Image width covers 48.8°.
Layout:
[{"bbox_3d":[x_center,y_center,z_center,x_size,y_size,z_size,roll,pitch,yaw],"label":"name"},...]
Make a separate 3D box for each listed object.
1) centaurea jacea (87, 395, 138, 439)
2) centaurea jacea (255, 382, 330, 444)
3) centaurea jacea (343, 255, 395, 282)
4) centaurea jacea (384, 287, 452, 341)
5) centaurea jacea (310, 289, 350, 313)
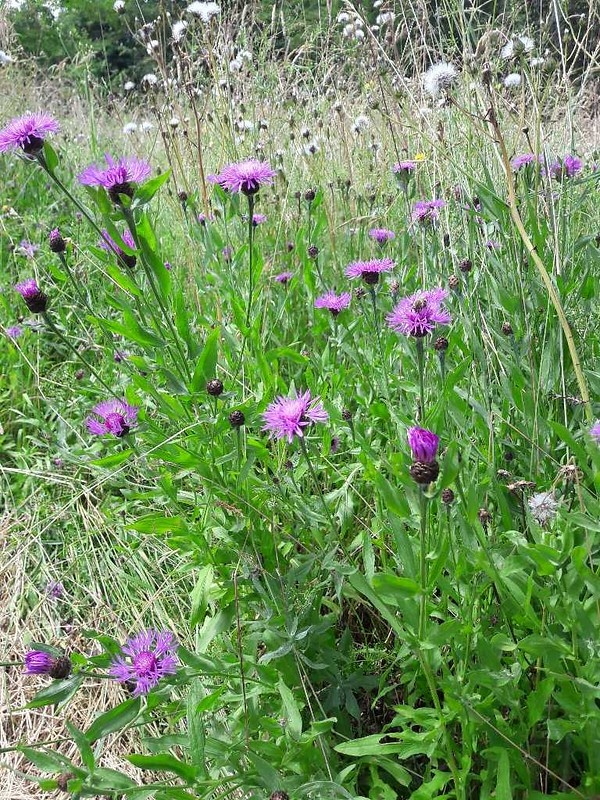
[{"bbox_3d":[-0.346,0.031,1.226,0.074,0.035,0.086,11,37,16],"label":"centaurea jacea"},{"bbox_3d":[-0.012,0.011,1.005,0.071,0.057,0.076,6,22,8],"label":"centaurea jacea"},{"bbox_3d":[0.148,-0.265,1.375,0.077,0.060,0.083,-16,-2,-7],"label":"centaurea jacea"},{"bbox_3d":[0.192,-0.133,1.041,0.089,0.063,0.087,-41,12,-17],"label":"centaurea jacea"},{"bbox_3d":[0.077,-0.228,1.479,0.067,0.049,0.075,-8,21,-3],"label":"centaurea jacea"}]
